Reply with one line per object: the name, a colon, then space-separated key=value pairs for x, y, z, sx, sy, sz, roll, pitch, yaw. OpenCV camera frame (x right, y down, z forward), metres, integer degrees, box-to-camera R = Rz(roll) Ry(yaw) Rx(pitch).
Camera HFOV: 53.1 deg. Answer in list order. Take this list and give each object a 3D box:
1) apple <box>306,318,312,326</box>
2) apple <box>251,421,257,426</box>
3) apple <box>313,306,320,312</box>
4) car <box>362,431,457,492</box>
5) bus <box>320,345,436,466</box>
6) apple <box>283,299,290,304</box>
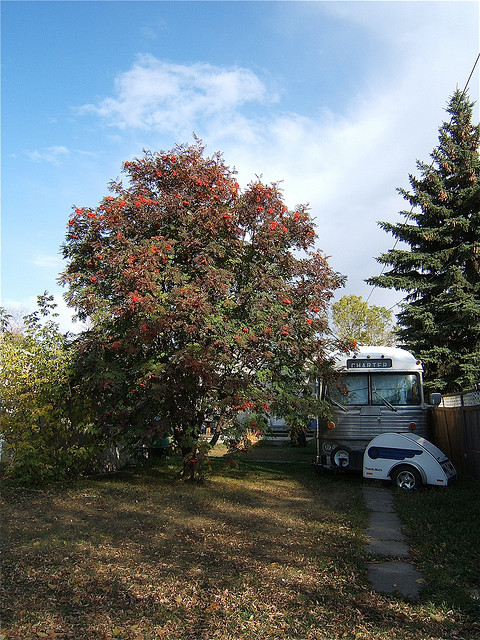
apple: x=1.396 y=0.039 z=9.678 sx=0.109 sy=0.119 sz=0.115 roll=-16 pitch=-34 yaw=-40
apple: x=0.276 y=2.008 z=9.254 sx=0.112 sy=0.061 sz=0.026 roll=-5 pitch=-13 yaw=34
apple: x=1.579 y=-0.228 z=9.898 sx=0.081 sy=0.096 sz=0.052 roll=9 pitch=-26 yaw=3
car: x=3.498 y=2.883 z=10.142 sx=1.667 sy=1.051 sz=1.148 roll=-5 pitch=-6 yaw=25
bus: x=4.153 y=2.429 z=13.238 sx=2.800 sy=3.022 sz=4.487 roll=-5 pitch=-11 yaw=27
apple: x=0.913 y=-0.374 z=9.400 sx=0.090 sy=0.044 sz=0.109 roll=-5 pitch=-3 yaw=26
